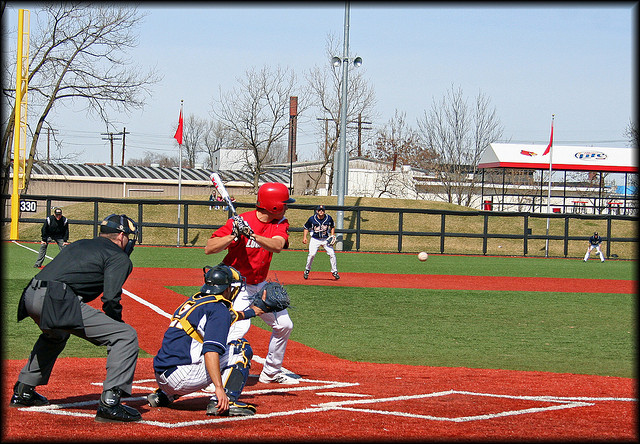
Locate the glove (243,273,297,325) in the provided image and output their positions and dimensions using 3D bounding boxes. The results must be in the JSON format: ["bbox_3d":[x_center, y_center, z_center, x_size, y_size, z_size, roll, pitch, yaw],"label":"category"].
[{"bbox_3d":[-1.062,1.562,22.796,0.661,0.716,0.739,-2,4,-21],"label":"glove"}]

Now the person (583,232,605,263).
[{"bbox_3d":[11.067,1.091,46.043,1.163,1.378,0.828,1,35,4],"label":"person"}]

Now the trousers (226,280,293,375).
[{"bbox_3d":[-1.066,2.128,23.376,1.234,1.801,1.760,-4,6,4],"label":"trousers"}]

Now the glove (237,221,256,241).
[{"bbox_3d":[-1.487,0.189,22.921,0.445,0.191,0.286,44,5,11],"label":"glove"}]

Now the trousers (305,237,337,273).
[{"bbox_3d":[0.303,0.996,33.944,1.278,1.241,1.025,2,-5,-15],"label":"trousers"}]

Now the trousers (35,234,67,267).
[{"bbox_3d":[-7.461,0.795,31.304,0.996,1.035,0.281,10,14,-27],"label":"trousers"}]

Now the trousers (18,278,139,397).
[{"bbox_3d":[-4.592,2.378,21.868,2.075,2.134,0.394,3,-1,7],"label":"trousers"}]

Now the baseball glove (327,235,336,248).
[{"bbox_3d":[0.384,0.595,33.432,0.132,0.302,0.264,-5,16,-38],"label":"baseball glove"}]

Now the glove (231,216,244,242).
[{"bbox_3d":[-1.697,0.111,22.918,0.163,0.396,0.342,7,-2,-25],"label":"glove"}]
